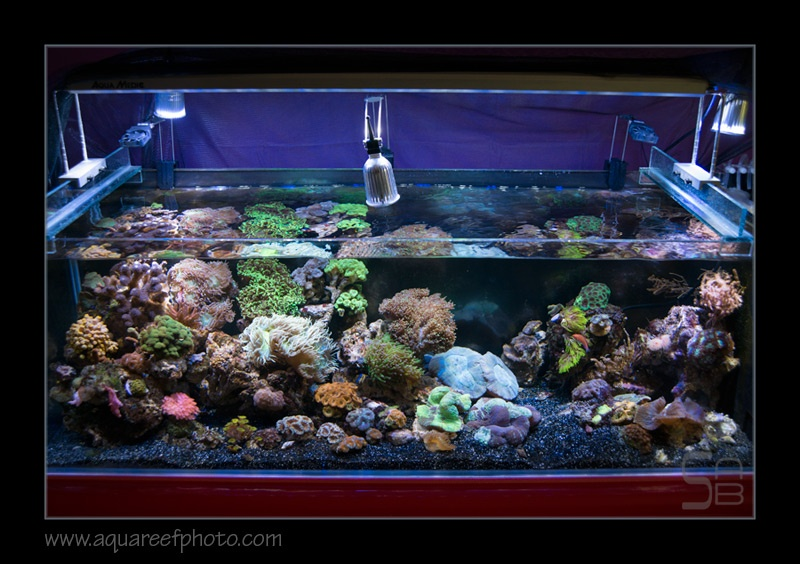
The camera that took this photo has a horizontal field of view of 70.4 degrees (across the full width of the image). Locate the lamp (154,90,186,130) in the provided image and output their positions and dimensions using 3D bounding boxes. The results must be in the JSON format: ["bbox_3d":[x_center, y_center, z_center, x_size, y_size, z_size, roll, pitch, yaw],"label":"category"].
[{"bbox_3d":[-1.755,-1.306,4.312,0.233,0.198,0.228,0,-21,-34],"label":"lamp"}]

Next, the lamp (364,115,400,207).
[{"bbox_3d":[-0.148,-0.848,4.088,0.236,0.662,0.513,-4,16,-1],"label":"lamp"}]

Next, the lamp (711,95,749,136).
[{"bbox_3d":[2.361,-1.192,4.040,0.121,0.265,0.426,0,15,11],"label":"lamp"}]
